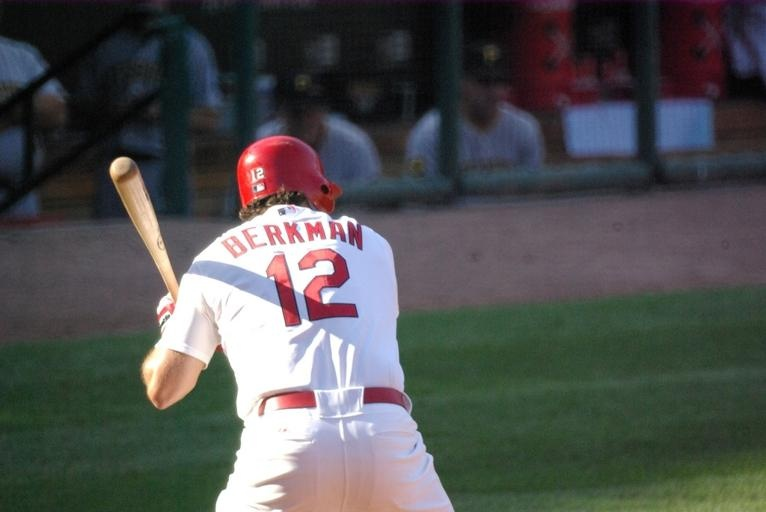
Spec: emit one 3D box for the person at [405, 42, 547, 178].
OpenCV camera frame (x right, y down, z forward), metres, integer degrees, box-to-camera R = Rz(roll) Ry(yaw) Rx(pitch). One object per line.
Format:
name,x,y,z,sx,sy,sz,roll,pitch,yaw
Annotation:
person,0.526,-0.741,7.115,0.878,0.780,0.459,1,5,-30

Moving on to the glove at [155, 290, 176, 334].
glove,-0.955,0.246,5.600,0.079,0.182,0.136,19,-26,-22

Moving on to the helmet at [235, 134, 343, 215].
helmet,-0.453,-0.378,5.845,0.523,0.364,0.386,-10,5,-40

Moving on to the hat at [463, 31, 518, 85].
hat,0.582,-1.031,7.125,0.310,0.343,0.402,0,-4,-1
